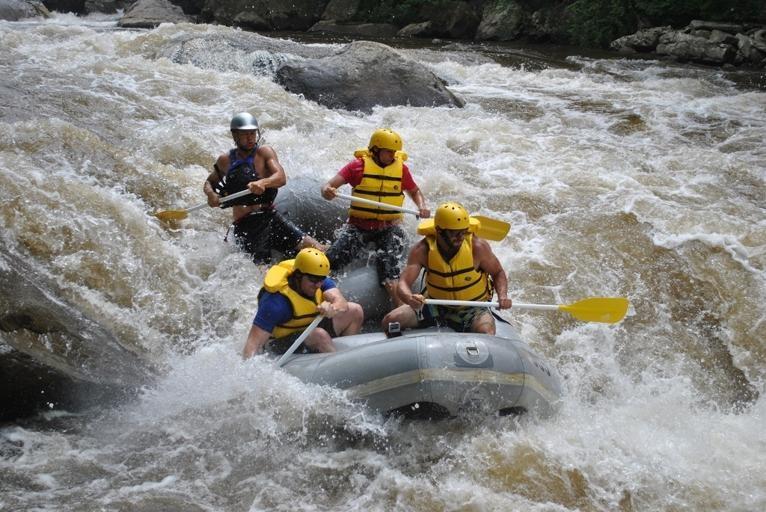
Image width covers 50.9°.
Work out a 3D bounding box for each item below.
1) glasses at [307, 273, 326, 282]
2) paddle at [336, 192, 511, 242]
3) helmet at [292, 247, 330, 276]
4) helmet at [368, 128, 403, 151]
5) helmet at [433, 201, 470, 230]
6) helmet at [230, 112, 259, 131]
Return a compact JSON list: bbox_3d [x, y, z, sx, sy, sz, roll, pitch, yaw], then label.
[{"bbox_3d":[-0.842,0.265,10.113,0.154,0.117,0.055,17,94,7],"label":"glasses"},{"bbox_3d":[0.538,-0.546,11.653,2.641,0.140,0.516,17,89,2],"label":"paddle"},{"bbox_3d":[-0.858,0.074,10.228,0.411,0.311,0.331,22,95,13],"label":"helmet"},{"bbox_3d":[0.053,-1.671,11.483,0.398,0.302,0.320,18,22,23],"label":"helmet"},{"bbox_3d":[0.934,-0.536,10.504,0.412,0.336,0.304,25,26,11],"label":"helmet"},{"bbox_3d":[-1.984,-1.920,11.536,0.260,0.157,0.324,-6,11,-42],"label":"helmet"}]
